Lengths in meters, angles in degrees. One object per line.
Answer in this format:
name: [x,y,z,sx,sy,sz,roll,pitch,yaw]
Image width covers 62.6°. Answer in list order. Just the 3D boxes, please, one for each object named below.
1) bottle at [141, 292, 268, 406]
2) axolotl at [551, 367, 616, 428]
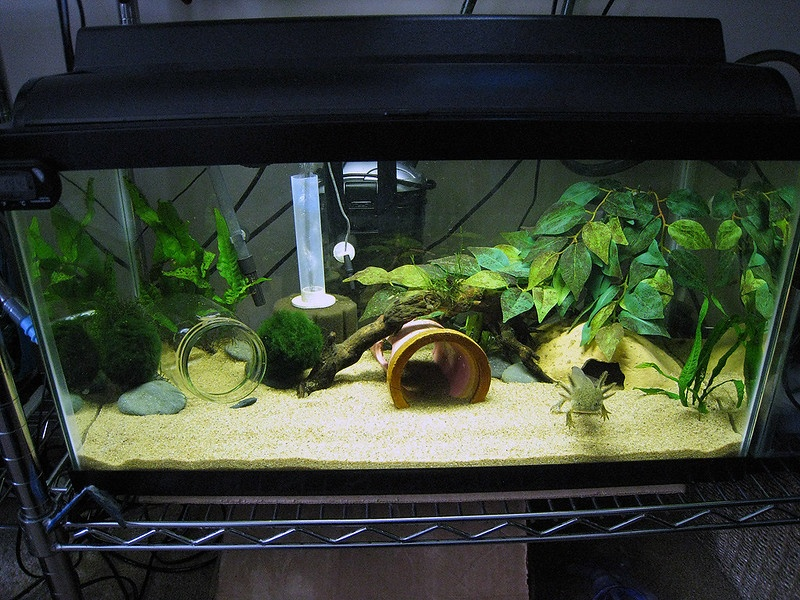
bottle: [-0.412,0.148,1.436,0.124,0.121,0.199,28,54,-6]
axolotl: [0.412,0.196,1.446,0.144,0.108,0.195,3,23,15]
